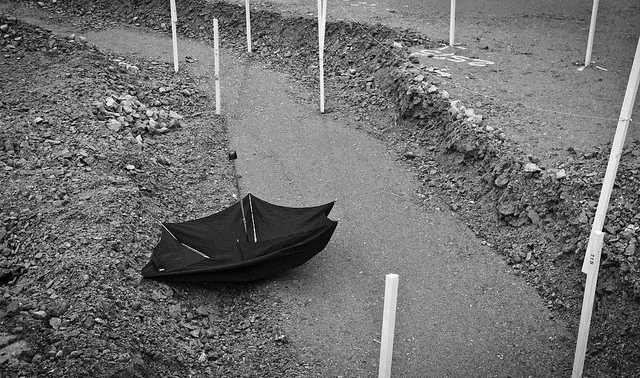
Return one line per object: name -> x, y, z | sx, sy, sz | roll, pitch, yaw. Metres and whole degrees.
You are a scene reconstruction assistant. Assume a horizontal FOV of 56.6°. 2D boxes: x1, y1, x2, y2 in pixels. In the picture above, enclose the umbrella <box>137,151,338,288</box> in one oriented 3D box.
umbrella -> -2.183, 1.408, 15.210 | 3.274, 2.039, 2.890 | -32, 27, -31
